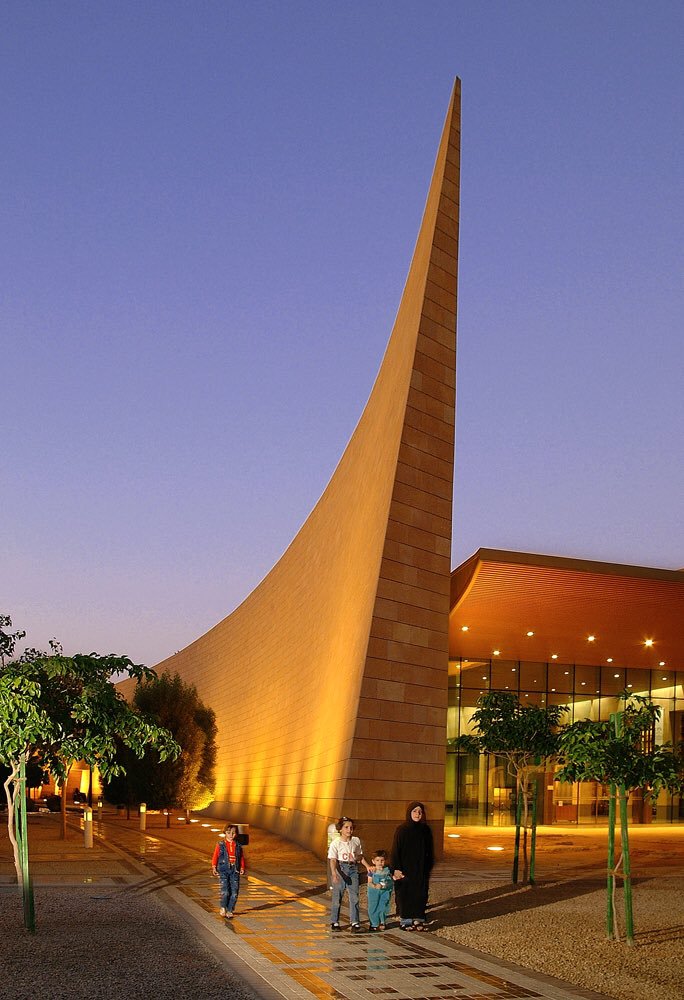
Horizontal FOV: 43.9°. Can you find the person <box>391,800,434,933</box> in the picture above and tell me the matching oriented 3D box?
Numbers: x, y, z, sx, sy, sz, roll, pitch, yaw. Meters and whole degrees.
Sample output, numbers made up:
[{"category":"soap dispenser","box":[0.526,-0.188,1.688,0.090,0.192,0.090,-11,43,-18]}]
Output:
[{"category":"person","box":[0.736,3.849,8.957,0.420,1.308,0.600,1,-11,4]}]
